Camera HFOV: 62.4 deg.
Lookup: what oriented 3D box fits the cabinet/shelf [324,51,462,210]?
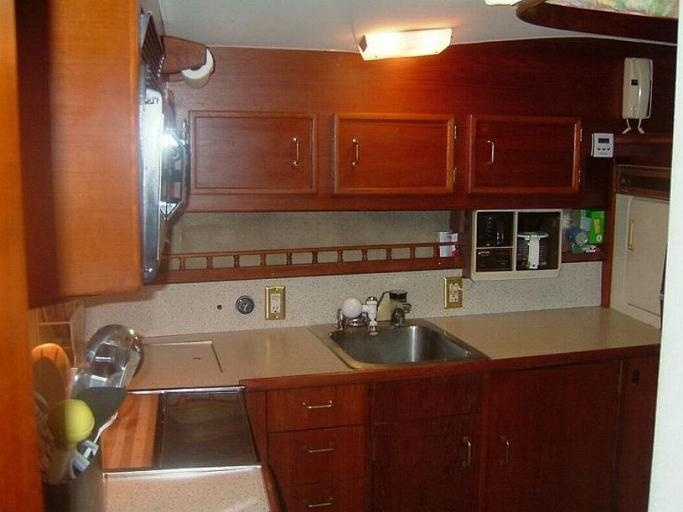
[{"bbox_3d":[0.171,-0.495,2.112,0.645,0.559,0.288,-1,7,-13],"label":"cabinet/shelf"}]

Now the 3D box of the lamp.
[{"bbox_3d":[0.216,-0.749,1.943,0.408,0.099,0.114,-5,25,-13],"label":"lamp"}]

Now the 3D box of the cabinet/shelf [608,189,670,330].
[{"bbox_3d":[1.302,0.004,2.465,0.113,0.544,0.346,0,9,4],"label":"cabinet/shelf"}]

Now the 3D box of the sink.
[{"bbox_3d":[0.178,0.356,2.276,0.361,0.118,0.286,-1,8,-22],"label":"sink"}]

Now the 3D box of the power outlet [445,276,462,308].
[{"bbox_3d":[0.499,0.155,2.508,0.092,0.144,0.022,-5,10,-27],"label":"power outlet"}]

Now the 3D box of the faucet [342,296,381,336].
[{"bbox_3d":[0.080,0.243,2.320,0.187,0.169,0.120,4,6,4],"label":"faucet"}]
